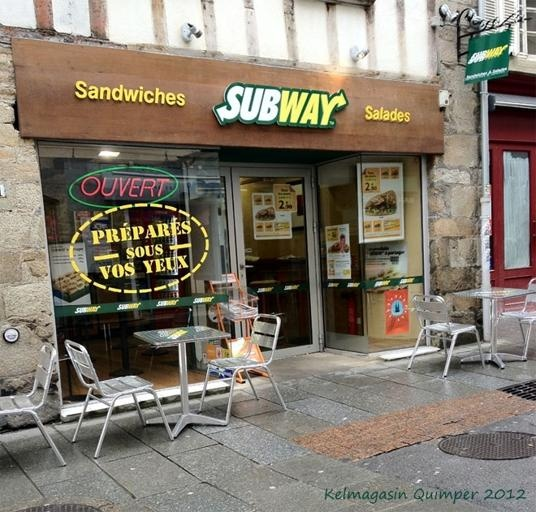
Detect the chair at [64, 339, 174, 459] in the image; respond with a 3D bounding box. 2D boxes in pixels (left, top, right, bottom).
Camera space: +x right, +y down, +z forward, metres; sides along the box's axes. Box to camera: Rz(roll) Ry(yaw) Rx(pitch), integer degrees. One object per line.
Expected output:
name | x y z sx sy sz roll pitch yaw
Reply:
chair | -1.278 1.067 4.516 0.733 0.895 1.202 -5 2 -21
